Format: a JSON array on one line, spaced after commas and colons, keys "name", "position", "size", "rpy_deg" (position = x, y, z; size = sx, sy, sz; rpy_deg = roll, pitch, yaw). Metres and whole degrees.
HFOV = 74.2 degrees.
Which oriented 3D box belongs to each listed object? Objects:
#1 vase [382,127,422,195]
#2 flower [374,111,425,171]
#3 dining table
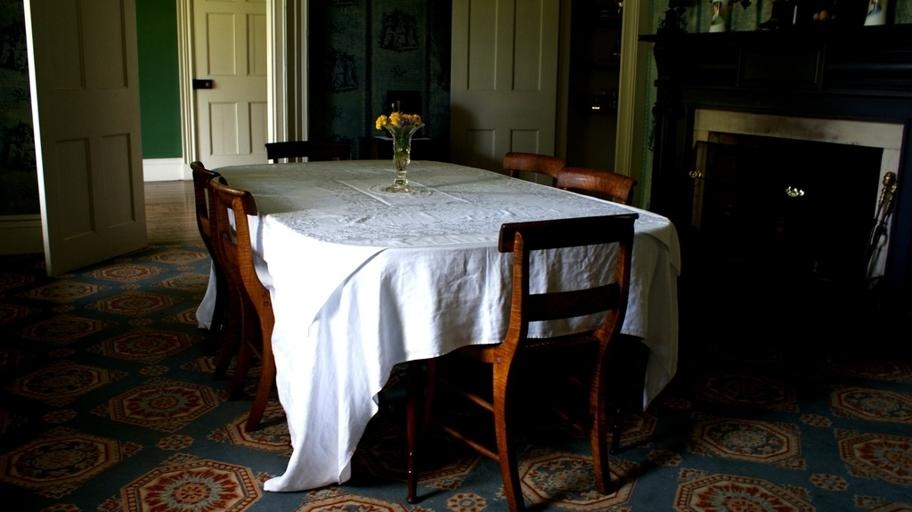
[{"name": "vase", "position": [-0.365, -0.621, 3.842], "size": [0.273, 0.412, 0.251], "rpy_deg": [4, 13, 11]}, {"name": "flower", "position": [-0.349, -0.703, 3.811], "size": [0.369, 0.324, 0.326], "rpy_deg": [-2, 2, -3]}, {"name": "dining table", "position": [-0.283, 0.143, 3.099], "size": [1.831, 0.627, 2.376], "rpy_deg": [-5, 13, -23]}]
